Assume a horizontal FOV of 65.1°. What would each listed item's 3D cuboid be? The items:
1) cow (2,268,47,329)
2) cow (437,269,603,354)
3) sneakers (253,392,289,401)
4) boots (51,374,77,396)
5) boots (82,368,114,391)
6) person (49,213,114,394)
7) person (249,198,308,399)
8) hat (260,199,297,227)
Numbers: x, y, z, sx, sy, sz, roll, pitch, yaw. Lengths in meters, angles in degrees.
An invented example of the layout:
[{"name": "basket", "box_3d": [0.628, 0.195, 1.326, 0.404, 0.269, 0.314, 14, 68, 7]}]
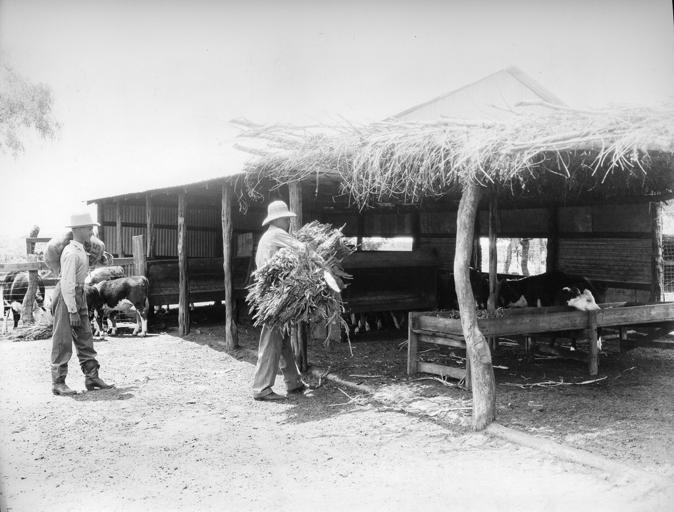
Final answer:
[{"name": "cow", "box_3d": [-7.011, 0.919, 11.816, 0.767, 1.291, 1.640, -4, 6, -33]}, {"name": "cow", "box_3d": [3.792, 0.922, 10.648, 3.847, 2.255, 0.961, -2, -9, 28]}, {"name": "sneakers", "box_3d": [-0.851, 1.804, 6.814, 0.414, 0.097, 0.210, -3, 5, -21]}, {"name": "boots", "box_3d": [-3.615, 1.719, 6.952, 0.412, 0.306, 0.164, 0, -3, 8]}, {"name": "boots", "box_3d": [-3.259, 1.701, 7.221, 0.460, 0.339, 0.191, 0, -1, -21]}, {"name": "person", "box_3d": [-3.420, 0.638, 6.926, 0.636, 2.395, 0.459, -4, 6, -36]}, {"name": "person", "box_3d": [-0.772, 0.568, 6.908, 0.678, 2.571, 0.729, -1, 5, -4]}, {"name": "hat", "box_3d": [-0.737, -0.594, 7.098, 0.410, 0.246, 0.438, -11, 2, 27]}]
